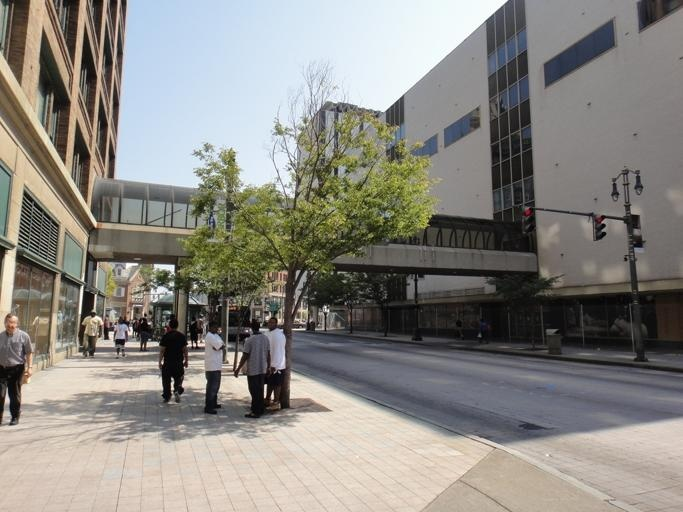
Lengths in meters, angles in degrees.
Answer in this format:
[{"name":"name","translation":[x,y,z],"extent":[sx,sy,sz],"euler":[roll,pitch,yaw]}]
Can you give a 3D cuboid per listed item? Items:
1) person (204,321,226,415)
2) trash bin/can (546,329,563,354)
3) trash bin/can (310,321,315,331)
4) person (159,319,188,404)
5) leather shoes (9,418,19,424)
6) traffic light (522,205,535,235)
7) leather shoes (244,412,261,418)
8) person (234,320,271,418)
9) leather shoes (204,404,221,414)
[{"name":"person","translation":[-3.064,2.661,11.635],"extent":[0.402,2.074,1.322],"euler":[1,-9,-15]},{"name":"trash bin/can","translation":[12.071,4.878,27.530],"extent":[0.710,1.403,1.668],"euler":[-4,-10,21]},{"name":"trash bin/can","translation":[-4.444,10.983,75.150],"extent":[0.839,1.571,1.514],"euler":[-2,-5,7]},{"name":"person","translation":[-4.282,2.659,12.343],"extent":[0.615,2.069,0.820],"euler":[2,-9,-21]},{"name":"leather shoes","translation":[-6.746,3.415,10.004],"extent":[0.162,0.114,0.221],"euler":[5,-12,-35]},{"name":"traffic light","translation":[7.955,-1.575,20.602],"extent":[0.442,1.058,0.506],"euler":[-4,-9,17]},{"name":"leather shoes","translation":[-1.987,3.565,10.848],"extent":[0.357,0.121,0.223],"euler":[-1,-9,0]},{"name":"person","translation":[-2.015,2.573,11.124],"extent":[0.736,2.161,1.178],"euler":[0,-9,-11]},{"name":"leather shoes","translation":[-3.019,3.579,11.258],"extent":[0.407,0.304,0.149],"euler":[-1,0,-3]}]
